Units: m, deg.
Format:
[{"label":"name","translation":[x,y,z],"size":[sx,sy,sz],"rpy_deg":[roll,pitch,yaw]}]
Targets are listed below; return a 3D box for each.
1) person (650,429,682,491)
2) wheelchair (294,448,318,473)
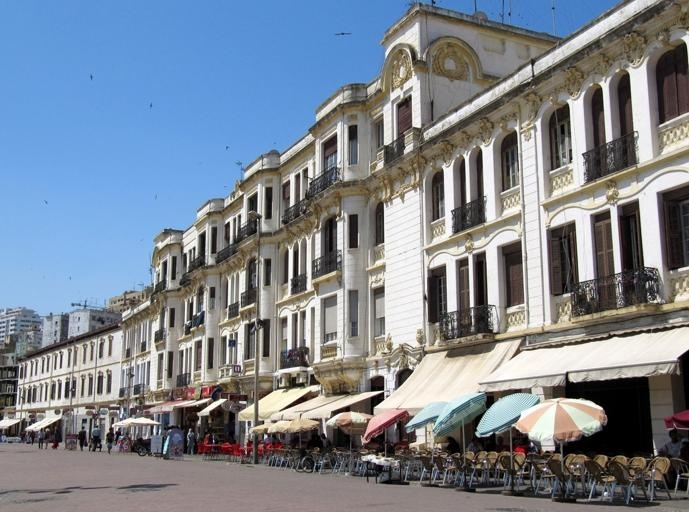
[{"label":"person","translation":[9.734,5.878,26.591],"size":[0.768,1.535,1.359],"rpy_deg":[-7,-19,15]},{"label":"wheelchair","translation":[-1.605,8.506,37.191],"size":[0.704,1.347,0.625],"rpy_deg":[8,2,-4]}]
